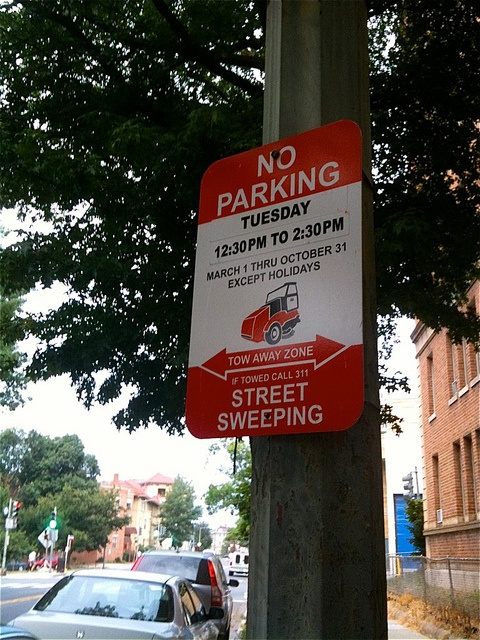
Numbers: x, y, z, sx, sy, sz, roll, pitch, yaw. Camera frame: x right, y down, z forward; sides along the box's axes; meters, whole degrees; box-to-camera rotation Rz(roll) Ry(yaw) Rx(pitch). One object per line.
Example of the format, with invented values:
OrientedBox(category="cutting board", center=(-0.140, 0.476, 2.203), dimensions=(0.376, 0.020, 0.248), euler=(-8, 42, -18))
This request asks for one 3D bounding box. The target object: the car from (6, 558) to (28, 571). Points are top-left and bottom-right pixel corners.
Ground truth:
OrientedBox(category="car", center=(-21.576, 23.843, 52.112), dimensions=(1.176, 1.002, 2.568), euler=(1, -10, 0))

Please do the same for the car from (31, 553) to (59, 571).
OrientedBox(category="car", center=(-19.433, 24.121, 53.586), dimensions=(2.289, 1.643, 7.805), euler=(6, -21, -16))
